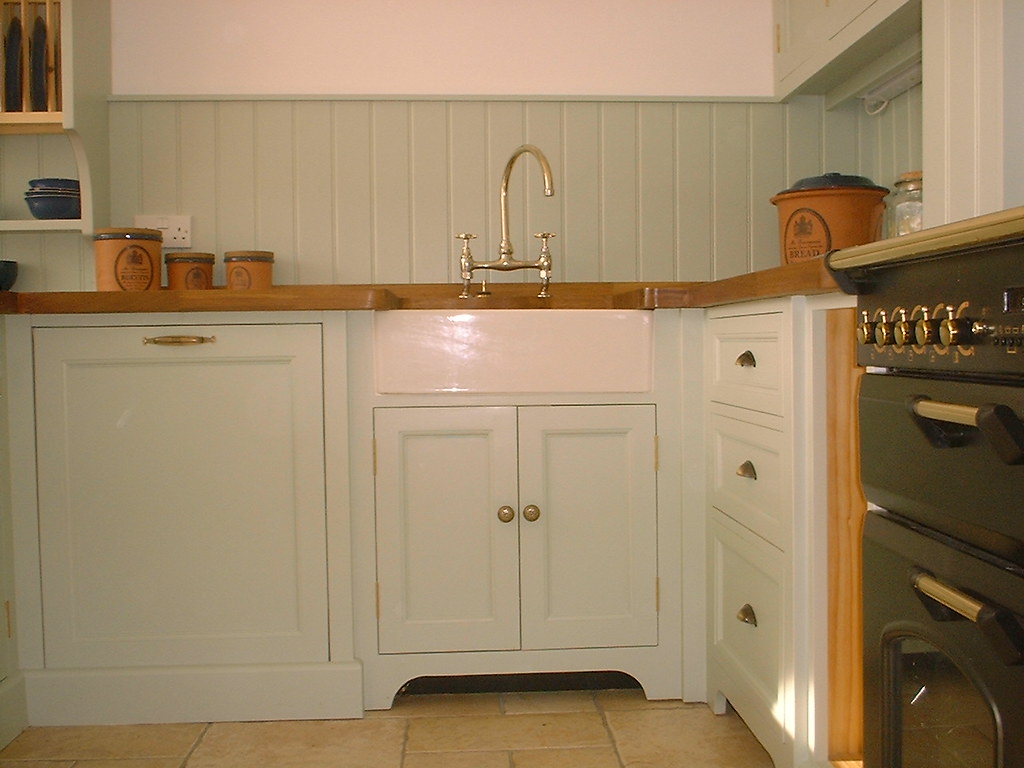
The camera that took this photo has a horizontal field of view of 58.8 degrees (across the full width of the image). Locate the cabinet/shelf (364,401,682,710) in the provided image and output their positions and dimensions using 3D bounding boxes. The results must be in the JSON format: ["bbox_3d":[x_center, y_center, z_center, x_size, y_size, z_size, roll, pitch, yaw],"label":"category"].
[{"bbox_3d":[0.023,0.420,2.456,0.777,0.767,0.310,0,-2,-1],"label":"cabinet/shelf"}]

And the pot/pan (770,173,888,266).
[{"bbox_3d":[0.856,-0.402,2.524,0.291,0.269,0.278,-3,1,8],"label":"pot/pan"}]

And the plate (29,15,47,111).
[{"bbox_3d":[-1.468,-0.984,2.824,0.058,0.289,0.039,-4,45,-28],"label":"plate"}]

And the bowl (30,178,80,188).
[{"bbox_3d":[-1.440,-0.620,2.852,0.137,0.032,0.042,-4,15,-15],"label":"bowl"}]
